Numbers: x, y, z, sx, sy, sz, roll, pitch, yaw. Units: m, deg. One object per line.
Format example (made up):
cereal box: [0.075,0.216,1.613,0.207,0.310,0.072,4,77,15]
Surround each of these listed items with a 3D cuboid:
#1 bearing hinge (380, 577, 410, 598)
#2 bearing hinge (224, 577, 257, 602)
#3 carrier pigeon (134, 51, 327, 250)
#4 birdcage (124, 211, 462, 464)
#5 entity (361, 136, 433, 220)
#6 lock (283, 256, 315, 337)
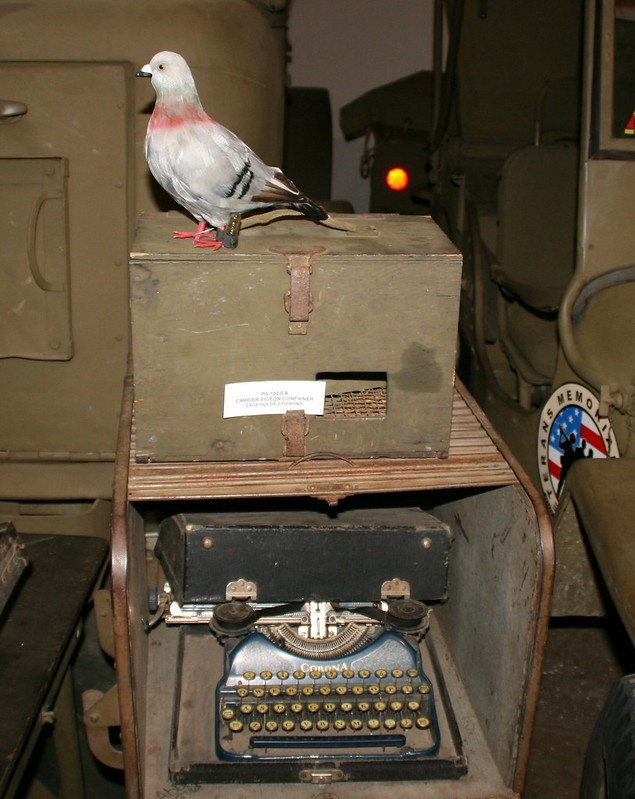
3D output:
bearing hinge: [0.180,0.436,1.922,0.047,0.041,0.016,0,18,-3]
bearing hinge: [-0.173,0.431,1.883,0.049,0.043,0.018,1,16,0]
carrier pigeon: [-0.160,-0.494,1.651,0.343,0.372,0.205,-12,30,-23]
birdcage: [-0.072,-0.137,1.741,0.618,0.438,0.373,-2,24,-12]
entity: [0.561,-1.331,4.899,0.475,0.404,0.508,8,25,37]
lock: [-0.033,-0.195,1.515,0.047,0.112,0.078,-1,45,-3]
